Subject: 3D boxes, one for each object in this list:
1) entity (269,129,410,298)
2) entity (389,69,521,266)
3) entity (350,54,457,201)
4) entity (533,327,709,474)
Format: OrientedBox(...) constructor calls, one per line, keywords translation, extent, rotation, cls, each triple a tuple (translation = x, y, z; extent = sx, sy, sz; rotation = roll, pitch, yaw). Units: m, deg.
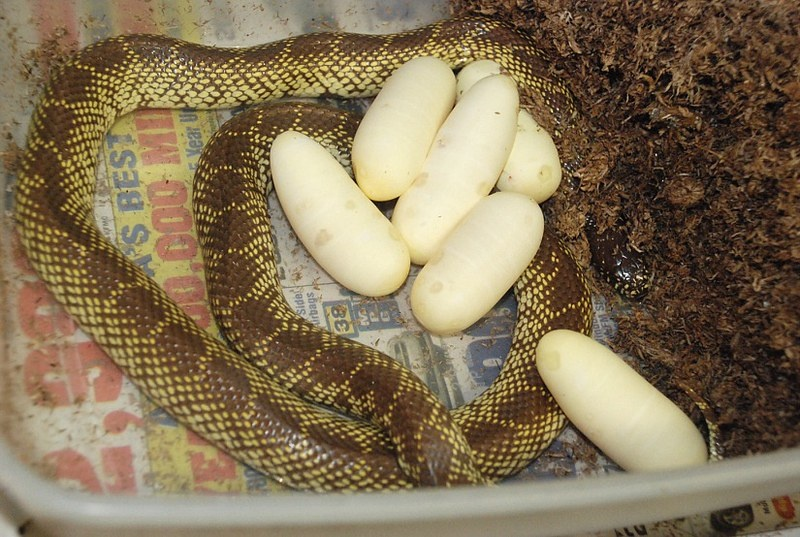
OrientedBox(translation=(-0.153, -0.202, 1.950), extent=(0.383, 0.180, 0.165), rotation=(-21, 90, 25), cls="entity")
OrientedBox(translation=(0.142, -0.242, 2.016), extent=(0.205, 0.201, 0.490), rotation=(33, 98, 28), cls="entity")
OrientedBox(translation=(0.004, -0.339, 2.020), extent=(0.182, 0.186, 0.371), rotation=(29, 88, 51), cls="entity")
OrientedBox(translation=(0.462, 0.322, 1.911), extent=(0.229, 0.184, 0.490), rotation=(-27, 37, -12), cls="entity")
